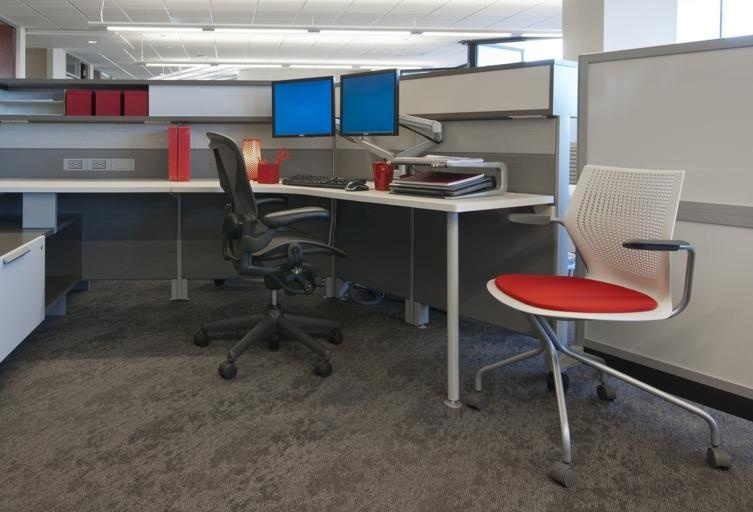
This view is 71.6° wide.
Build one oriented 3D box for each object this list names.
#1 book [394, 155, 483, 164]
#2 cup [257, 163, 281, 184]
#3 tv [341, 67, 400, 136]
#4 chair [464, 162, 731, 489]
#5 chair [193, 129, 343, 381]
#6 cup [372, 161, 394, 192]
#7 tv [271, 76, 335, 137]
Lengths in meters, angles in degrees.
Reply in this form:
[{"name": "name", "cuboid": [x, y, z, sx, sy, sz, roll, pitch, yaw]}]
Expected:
[{"name": "book", "cuboid": [0.322, -0.531, 2.919, 0.481, 0.052, 0.226, 11, 20, 42]}, {"name": "cup", "cuboid": [-0.779, -0.594, 3.818, 0.159, 0.125, 0.146, 1, 4, 0]}, {"name": "tv", "cuboid": [-0.033, -0.970, 3.330, 0.509, 0.413, 0.054, 4, 6, 42]}, {"name": "chair", "cuboid": [0.983, 0.223, 2.485, 1.077, 1.229, 1.051, -1, 11, 5]}, {"name": "chair", "cuboid": [-0.659, -0.038, 3.202, 0.900, 1.246, 0.924, 0, 8, -18]}, {"name": "cup", "cuboid": [0.032, -0.497, 3.252, 0.166, 0.173, 0.164, 0, 5, 0]}, {"name": "tv", "cuboid": [-0.517, -1.061, 3.746, 0.498, 0.384, 0.052, 3, 8, 28]}]
